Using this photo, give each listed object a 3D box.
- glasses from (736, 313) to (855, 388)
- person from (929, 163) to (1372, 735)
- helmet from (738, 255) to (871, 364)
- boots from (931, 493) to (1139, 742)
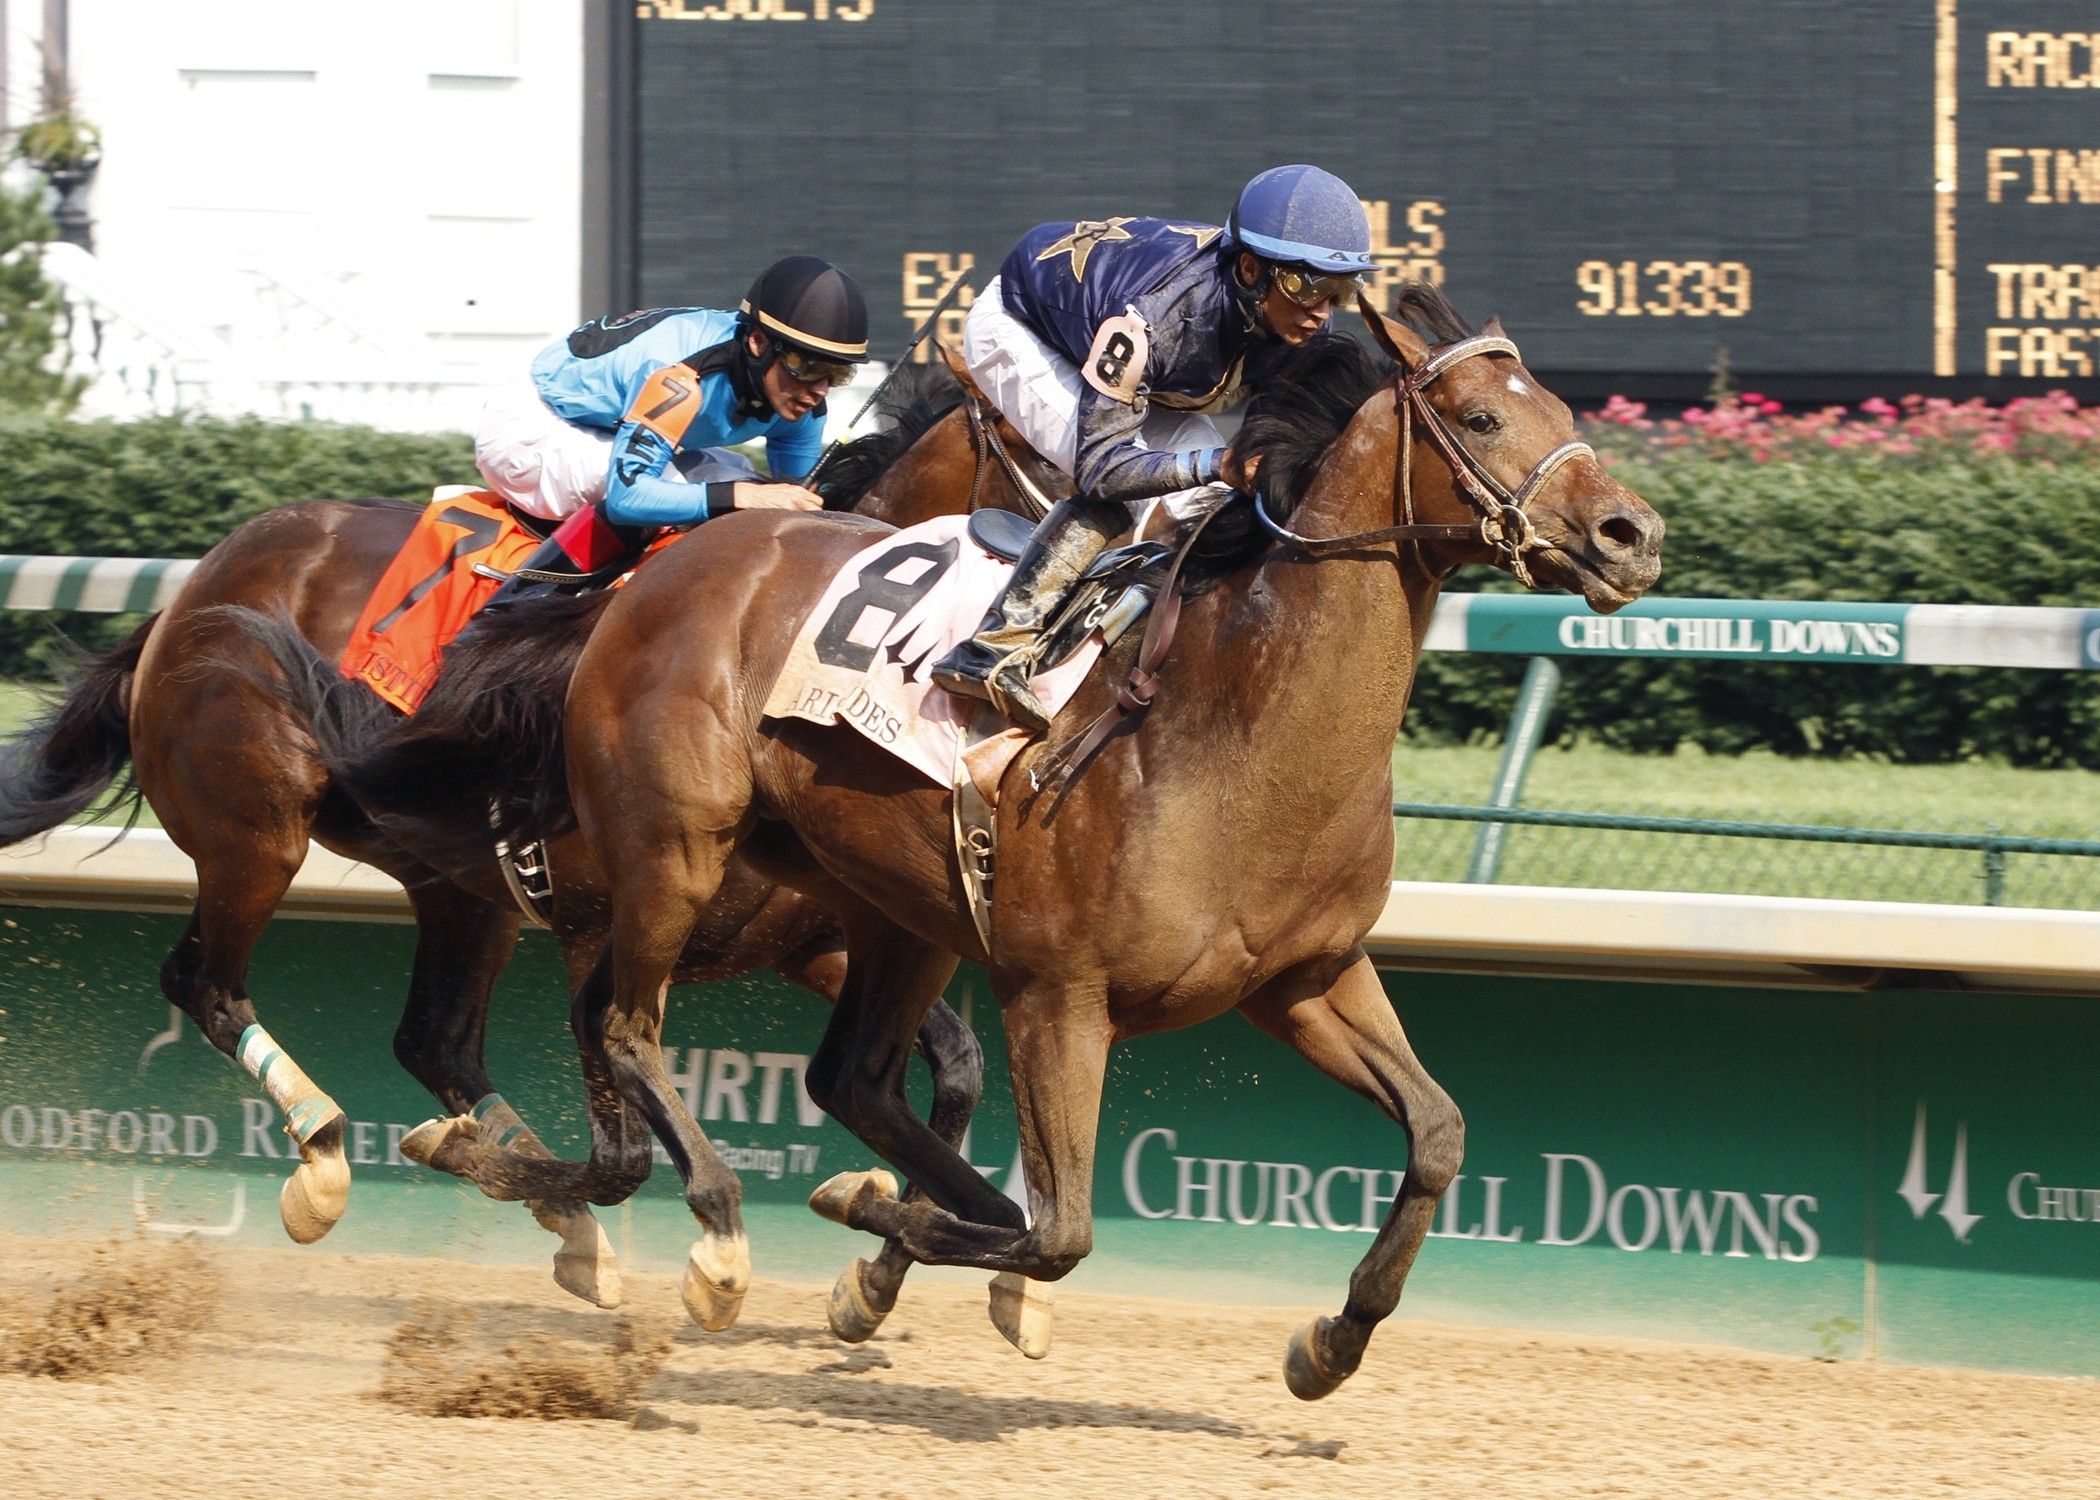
[{"bbox_3d":[-0.619,-0.970,8.212,0.229,0.077,0.192,26,7,42],"label":"glasses"},{"bbox_3d":[0.247,-0.753,7.879,0.722,1.293,0.972,-12,33,-42],"label":"person"},{"bbox_3d":[-0.580,-1.067,8.186,0.256,0.143,0.299,12,21,-31],"label":"helmet"},{"bbox_3d":[-0.010,-0.311,7.687,0.358,0.548,0.211,18,-21,40],"label":"boots"}]
